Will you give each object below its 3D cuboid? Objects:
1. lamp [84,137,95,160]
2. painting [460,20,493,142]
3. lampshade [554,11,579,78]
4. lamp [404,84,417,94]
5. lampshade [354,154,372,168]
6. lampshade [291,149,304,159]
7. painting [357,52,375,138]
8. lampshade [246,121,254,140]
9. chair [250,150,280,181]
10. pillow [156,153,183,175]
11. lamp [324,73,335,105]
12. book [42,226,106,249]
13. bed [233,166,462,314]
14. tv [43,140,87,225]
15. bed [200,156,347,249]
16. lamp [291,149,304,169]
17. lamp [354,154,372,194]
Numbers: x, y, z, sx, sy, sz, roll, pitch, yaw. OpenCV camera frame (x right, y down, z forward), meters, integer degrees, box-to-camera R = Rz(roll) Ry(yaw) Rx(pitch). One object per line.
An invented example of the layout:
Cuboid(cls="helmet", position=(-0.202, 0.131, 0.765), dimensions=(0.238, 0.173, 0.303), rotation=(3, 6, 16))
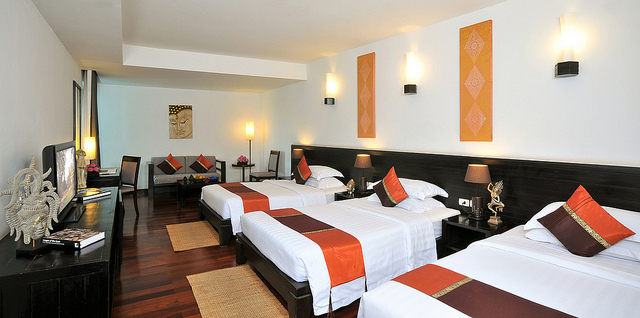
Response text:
Cuboid(cls="lamp", position=(-5.004, -0.236, 7.833), dimensions=(0.244, 0.456, 0.225), rotation=(-8, 9, -41))
Cuboid(cls="painting", position=(2.698, -1.395, 6.355), dimensions=(0.786, 2.034, 0.145), rotation=(-10, 14, -20))
Cuboid(cls="lampshade", position=(3.830, -1.753, 5.560), dimensions=(0.318, 0.984, 0.251), rotation=(1, 8, 25))
Cuboid(cls="lamp", position=(1.752, -1.332, 6.941), dimensions=(0.252, 0.174, 0.135), rotation=(-7, 8, -40))
Cuboid(cls="lampshade", position=(0.883, 0.035, 7.420), dimensions=(0.295, 0.169, 0.290), rotation=(-4, 6, -42))
Cuboid(cls="lampshade", position=(-0.572, -0.127, 9.200), dimensions=(0.277, 0.223, 0.234), rotation=(0, 7, -8))
Cuboid(cls="painting", position=(0.942, -1.345, 7.787), dimensions=(0.086, 1.798, 0.658), rotation=(11, 20, 40))
Cuboid(cls="lampshade", position=(-2.204, -0.887, 11.262), dimensions=(0.203, 0.562, 0.156), rotation=(0, 7, 14))
Cuboid(cls="chair", position=(-1.607, 0.354, 10.394), dimensions=(0.778, 1.111, 0.699), rotation=(-4, 9, -20))
Cuboid(cls="pillow", position=(-4.226, 0.171, 10.054), dimensions=(0.518, 0.536, 0.124), rotation=(-48, 1, -25))
Cuboid(cls="lamp", position=(0.218, -1.631, 8.437), dimensions=(0.222, 0.729, 0.212), rotation=(-2, 7, 4))
Cuboid(cls="book", position=(-3.251, 1.034, 4.763), dimensions=(0.689, 0.183, 0.311), rotation=(-1, 6, 5))
Cuboid(cls="bed", position=(0.607, 1.203, 5.992), dimensions=(3.229, 1.173, 2.053), rotation=(-1, 2, -28))
Cuboid(cls="tv", position=(-3.788, 0.369, 5.325), dimensions=(0.433, 0.910, 1.391), rotation=(-1, 4, -22))
Cuboid(cls="bed", position=(-0.982, 0.820, 7.639), dimensions=(2.390, 0.980, 1.909), rotation=(0, 1, -25))
Cuboid(cls="lamp", position=(-0.577, -0.108, 9.183), dimensions=(0.267, 0.458, 0.248), rotation=(-2, 7, -23))
Cuboid(cls="lamp", position=(0.910, 0.313, 7.561), dimensions=(0.434, 0.733, 0.395), rotation=(0, -2, -8))
